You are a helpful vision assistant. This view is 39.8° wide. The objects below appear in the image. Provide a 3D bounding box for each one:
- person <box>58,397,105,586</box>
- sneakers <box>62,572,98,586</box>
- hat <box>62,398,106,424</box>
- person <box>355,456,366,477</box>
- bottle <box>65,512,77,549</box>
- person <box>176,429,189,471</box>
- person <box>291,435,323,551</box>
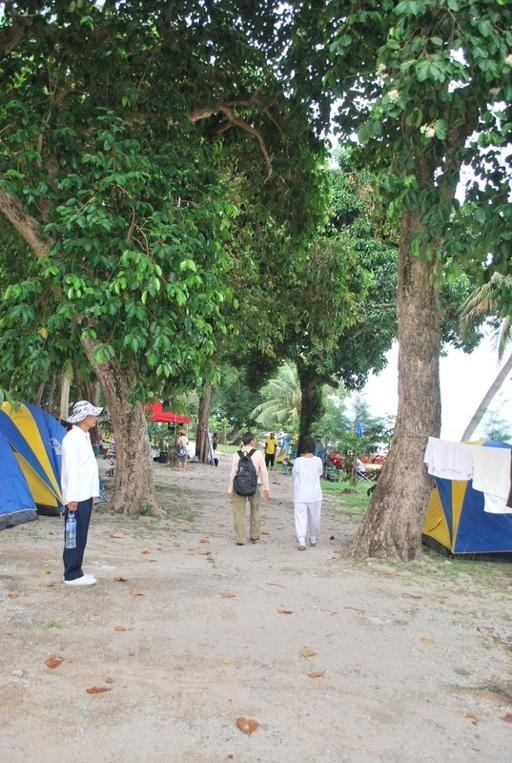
[{"bbox_3d":[-1.612,1.006,6.503,0.375,1.691,0.547,4,-1,-15],"label":"person"},{"bbox_3d":[-1.579,1.770,6.358,0.181,0.080,0.113,-4,-8,2],"label":"sneakers"},{"bbox_3d":[-1.606,0.334,6.588,0.305,0.128,0.240,-28,13,3],"label":"hat"},{"bbox_3d":[3.841,3.108,25.558,0.358,0.681,1.887,4,-2,10],"label":"person"},{"bbox_3d":[-1.641,1.332,6.297,0.104,0.344,0.105,4,-1,0],"label":"bottle"},{"bbox_3d":[-2.295,2.125,22.055,0.325,1.217,1.311,4,-1,-7],"label":"person"},{"bbox_3d":[0.709,1.503,9.688,0.399,1.465,1.348,4,-1,6],"label":"person"}]
